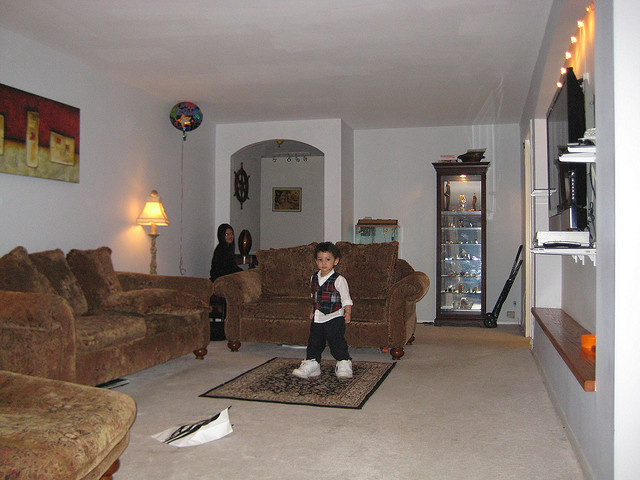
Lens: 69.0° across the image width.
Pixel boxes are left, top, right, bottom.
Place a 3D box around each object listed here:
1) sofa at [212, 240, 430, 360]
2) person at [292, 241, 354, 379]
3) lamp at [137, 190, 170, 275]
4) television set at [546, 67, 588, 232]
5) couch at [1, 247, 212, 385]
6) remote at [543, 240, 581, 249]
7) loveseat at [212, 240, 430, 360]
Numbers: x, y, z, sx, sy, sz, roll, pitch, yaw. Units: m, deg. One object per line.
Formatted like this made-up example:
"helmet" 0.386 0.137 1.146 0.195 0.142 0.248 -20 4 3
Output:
"sofa" 0.036 0.600 5.008 2.083 1.181 0.741 0 1 11
"person" 0.047 0.586 4.013 0.495 1.137 0.360 0 1 3
"lamp" -1.993 -0.040 5.597 0.403 1.074 0.430 -1 -4 -3
"television set" 1.744 -0.759 3.301 0.231 1.393 1.796 1 1 26
"couch" -1.745 0.560 3.757 0.894 0.998 1.807 1 0 19
"remote" 1.454 0.023 2.797 0.210 0.053 0.113 0 0 18
"loveseat" 0.040 0.618 5.182 2.188 1.424 1.050 0 -5 14
